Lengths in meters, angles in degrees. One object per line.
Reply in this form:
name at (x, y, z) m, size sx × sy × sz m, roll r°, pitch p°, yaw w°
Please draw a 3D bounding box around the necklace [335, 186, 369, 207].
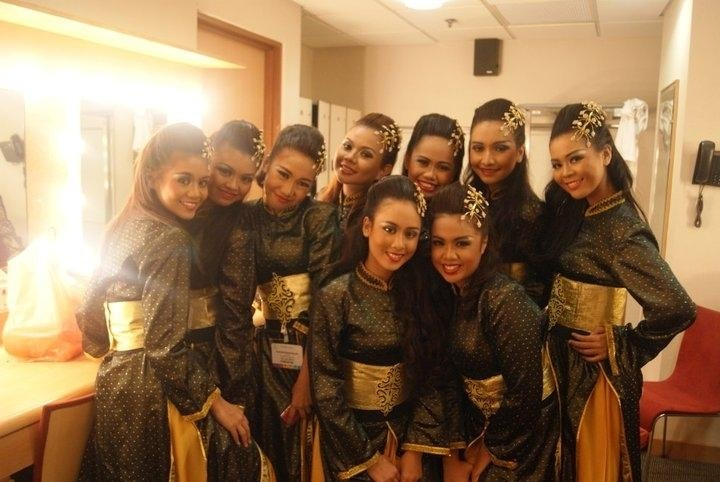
necklace at (-0.062, -0.216, 2.788) m, size 0.125 × 0.076 × 0.151 m, roll 4°, pitch 14°, yaw 2°
